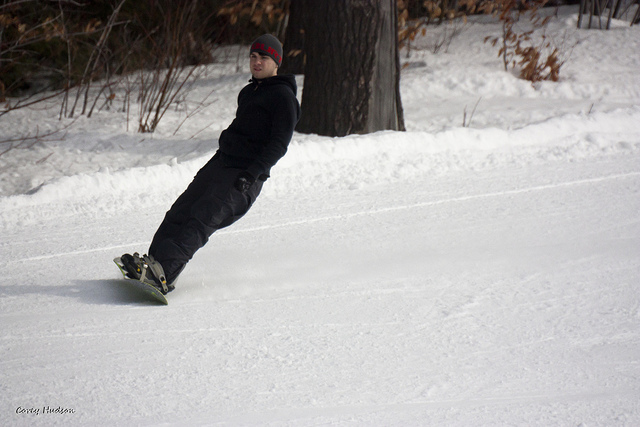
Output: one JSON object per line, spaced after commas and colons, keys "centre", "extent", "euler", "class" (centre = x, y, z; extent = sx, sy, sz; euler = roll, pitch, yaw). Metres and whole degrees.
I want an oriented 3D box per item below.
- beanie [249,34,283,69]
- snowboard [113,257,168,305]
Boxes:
{"centre": [-0.547, -1.870, 8.008], "extent": [0.337, 0.307, 0.352], "euler": [24, 10, -32], "class": "beanie"}
{"centre": [-2.041, 0.735, 7.954], "extent": [0.695, 0.494, 0.265], "euler": [16, 27, 31], "class": "snowboard"}
